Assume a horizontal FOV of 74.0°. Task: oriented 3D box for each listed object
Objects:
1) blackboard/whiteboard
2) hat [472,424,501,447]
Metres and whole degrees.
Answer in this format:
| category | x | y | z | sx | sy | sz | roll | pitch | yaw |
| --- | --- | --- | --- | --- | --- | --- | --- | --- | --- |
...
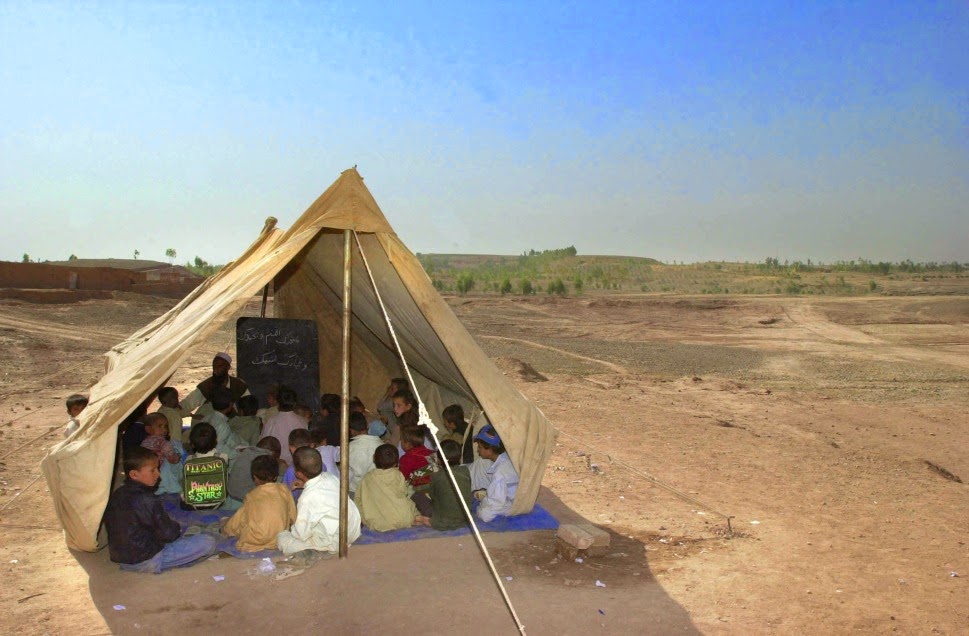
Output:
| category | x | y | z | sx | sy | sz | roll | pitch | yaw |
| --- | --- | --- | --- | --- | --- | --- | --- | --- | --- |
| blackboard/whiteboard | -3.668 | 0.832 | 11.378 | 1.955 | 1.875 | 0.202 | 0 | 0 | -1 |
| hat | 0.078 | 1.659 | 9.166 | 0.286 | 0.193 | 0.375 | 17 | 4 | -14 |
